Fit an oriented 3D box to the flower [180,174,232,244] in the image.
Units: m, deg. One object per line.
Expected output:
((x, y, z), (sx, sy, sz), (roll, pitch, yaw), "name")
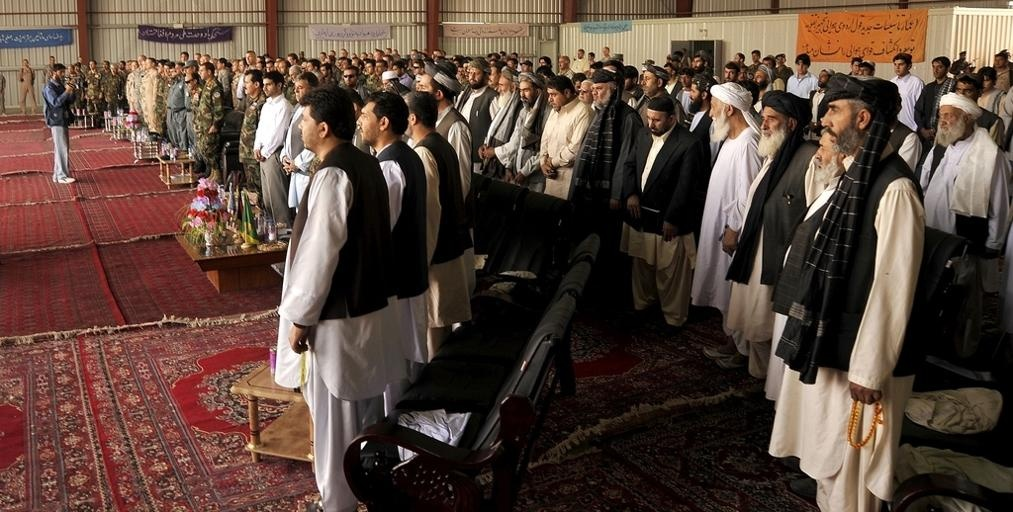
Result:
((-3.591, -0.503, 8.506), (0.531, 0.731, 0.560), (1, 2, 11), "flower")

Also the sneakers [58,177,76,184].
((-7.962, -1.351, 12.581), (0.350, 0.133, 0.135), (1, 7, 17), "sneakers")

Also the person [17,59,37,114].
((-16.307, -5.728, 23.646), (0.646, 1.764, 1.035), (-12, 20, -32), "person")

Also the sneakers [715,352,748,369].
((2.181, 1.026, 6.757), (0.360, 0.136, 0.121), (3, 23, 6), "sneakers")

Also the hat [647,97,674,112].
((1.582, -1.549, 7.182), (0.193, 0.098, 0.193), (6, 15, 14), "hat")

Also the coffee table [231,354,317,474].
((-1.966, 1.310, 5.944), (0.676, 0.469, 0.885), (-2, 11, -12), "coffee table")

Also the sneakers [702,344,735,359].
((2.093, 0.944, 6.908), (0.243, 0.082, 0.144), (2, 9, 11), "sneakers")

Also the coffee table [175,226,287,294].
((-3.188, 0.104, 8.273), (0.718, 0.297, 0.946), (-8, 19, -28), "coffee table")
